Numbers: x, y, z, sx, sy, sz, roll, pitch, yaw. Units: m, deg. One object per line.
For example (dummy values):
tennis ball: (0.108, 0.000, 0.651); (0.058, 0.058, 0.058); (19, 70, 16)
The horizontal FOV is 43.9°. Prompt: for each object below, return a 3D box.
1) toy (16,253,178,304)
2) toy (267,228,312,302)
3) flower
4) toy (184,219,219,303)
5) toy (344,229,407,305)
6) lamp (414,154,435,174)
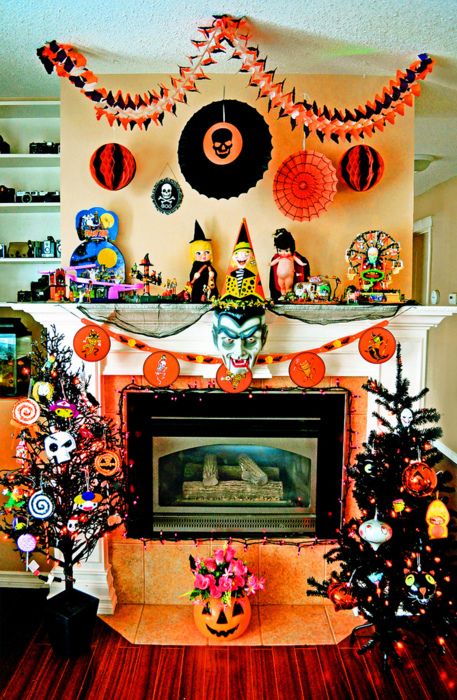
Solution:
toy: (-0.599, -0.294, 2.400); (0.920, 0.217, 0.415); (6, 11, 28)
toy: (0.248, -0.354, 2.348); (0.156, 0.282, 0.064); (1, 9, 3)
flower: (-0.039, 0.916, 2.346); (0.265, 0.182, 0.233); (-10, 23, -40)
toy: (-0.109, -0.368, 2.334); (0.125, 0.320, 0.140); (0, 9, -3)
toy: (0.602, -0.352, 2.350); (0.236, 0.287, 0.275); (3, 10, 13)
lamp: (1.285, -1.256, 3.832); (0.145, 0.056, 0.147); (0, 1, -5)
